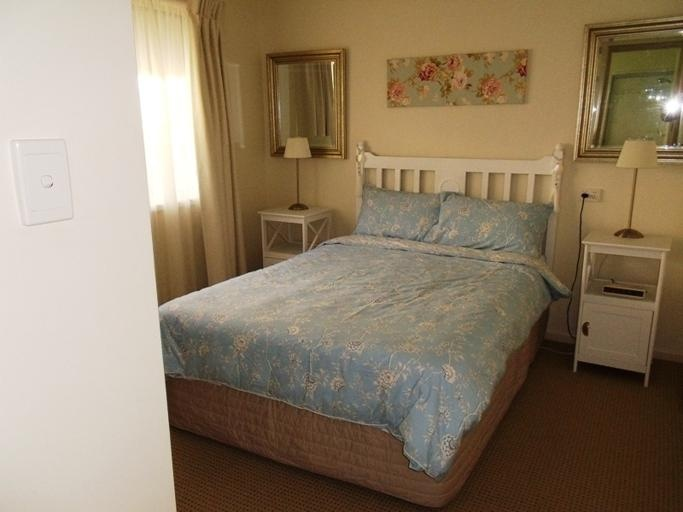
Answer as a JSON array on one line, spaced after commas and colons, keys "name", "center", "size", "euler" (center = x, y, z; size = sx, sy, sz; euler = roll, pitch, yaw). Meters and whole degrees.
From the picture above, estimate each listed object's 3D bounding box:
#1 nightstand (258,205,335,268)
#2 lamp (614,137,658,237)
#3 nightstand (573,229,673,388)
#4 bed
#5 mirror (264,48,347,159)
[{"name": "nightstand", "center": [-0.354, -0.226, 4.630], "size": [0.585, 0.822, 0.517], "euler": [4, 9, 30]}, {"name": "lamp", "center": [1.895, -0.433, 3.259], "size": [0.209, 0.616, 0.370], "euler": [9, 18, 31]}, {"name": "nightstand", "center": [1.824, 0.317, 3.296], "size": [0.484, 0.868, 0.566], "euler": [11, 18, 34]}, {"name": "bed", "center": [0.350, 0.249, 3.103], "size": [1.589, 1.595, 2.338], "euler": [7, 14, 26]}, {"name": "mirror", "center": [-0.284, -1.348, 4.363], "size": [0.842, 1.006, 0.074], "euler": [7, 14, 27]}]
